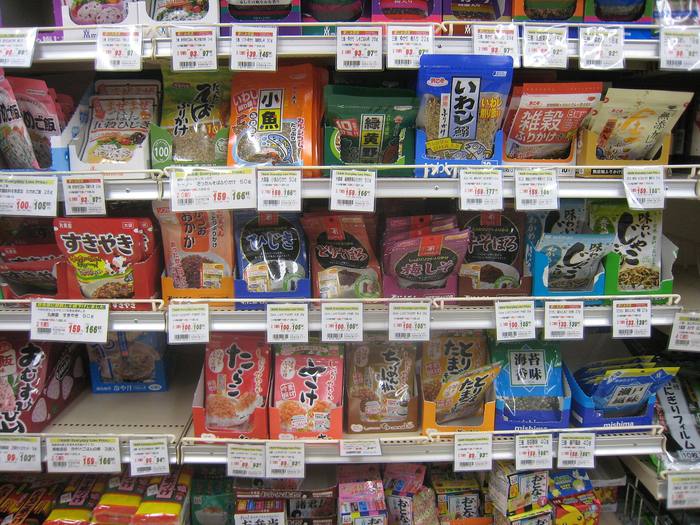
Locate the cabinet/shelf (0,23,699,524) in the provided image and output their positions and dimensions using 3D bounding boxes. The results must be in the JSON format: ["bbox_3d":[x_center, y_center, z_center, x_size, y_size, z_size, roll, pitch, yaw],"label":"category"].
[{"bbox_3d":[0.347,-0.151,2.760,3.324,1.272,1.024,-1,22,-1],"label":"cabinet/shelf"}]
